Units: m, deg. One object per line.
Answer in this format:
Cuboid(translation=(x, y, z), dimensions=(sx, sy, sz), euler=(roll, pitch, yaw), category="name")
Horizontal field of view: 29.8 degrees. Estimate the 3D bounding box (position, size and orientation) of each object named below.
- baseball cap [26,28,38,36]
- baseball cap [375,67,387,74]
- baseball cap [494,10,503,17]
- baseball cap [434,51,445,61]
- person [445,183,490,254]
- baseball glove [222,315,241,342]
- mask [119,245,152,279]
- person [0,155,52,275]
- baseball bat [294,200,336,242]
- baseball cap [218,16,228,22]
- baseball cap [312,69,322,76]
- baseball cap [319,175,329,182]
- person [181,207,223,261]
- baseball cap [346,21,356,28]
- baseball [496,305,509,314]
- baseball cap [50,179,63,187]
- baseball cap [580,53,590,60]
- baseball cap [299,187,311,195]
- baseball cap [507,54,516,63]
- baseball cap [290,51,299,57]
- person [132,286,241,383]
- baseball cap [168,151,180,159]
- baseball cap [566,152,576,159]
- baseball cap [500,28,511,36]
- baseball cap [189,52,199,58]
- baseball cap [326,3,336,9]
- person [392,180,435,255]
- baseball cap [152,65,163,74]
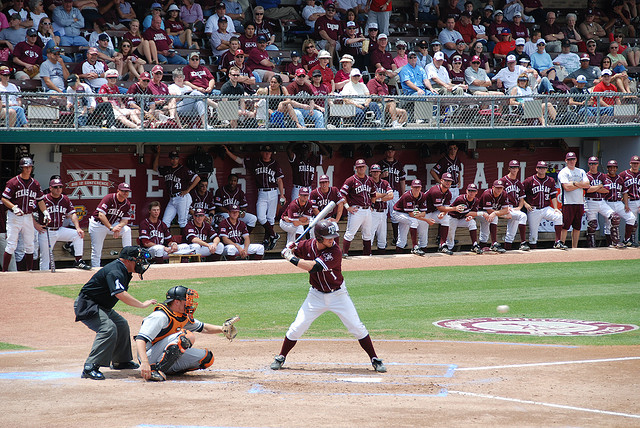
Cuboid(translation=(-7.752, -4.843, 32.072), dimensions=(0.255, 0.194, 0.236), euler=(1, 0, -17), category="baseball cap")
Cuboid(translation=(1.706, -4.076, 34.275), dimensions=(0.400, 0.176, 0.551), euler=(0, -1, -3), category="baseball cap")
Cuboid(translation=(5.659, -6.349, 38.214), dimensions=(0.402, 0.163, 0.490), euler=(0, 14, 1), category="baseball cap")
Cuboid(translation=(3.472, -4.643, 35.322), dimensions=(0.260, 0.272, 0.361), euler=(1, 0, 4), category="baseball cap")
Cuboid(translation=(4.069, 0.130, 33.590), dimensions=(1.142, 1.915, 0.828), euler=(2, 0, 5), category="person")
Cuboid(translation=(-1.899, 2.265, 24.246), dimensions=(0.292, 0.472, 0.416), euler=(15, 20, 33), category="baseball glove")
Cuboid(translation=(-3.814, 0.942, 24.248), dimensions=(0.801, 0.602, 0.562), euler=(6, -1, -4), category="mask")
Cuboid(translation=(-7.576, 0.029, 30.751), dimensions=(1.187, 2.730, 1.500), euler=(2, 0, -12), category="person")
Cuboid(translation=(-0.171, 0.135, 28.613), dimensions=(1.489, 0.194, 0.192), euler=(-40, 0, -1), category="baseball bat")
Cuboid(translation=(-2.831, -5.578, 34.571), dimensions=(0.273, 0.155, 0.234), euler=(1, 0, -7), category="baseball cap")
Cuboid(translation=(-0.110, -3.920, 33.561), dimensions=(0.174, 0.195, 0.218), euler=(0, -12, -9), category="baseball cap")
Cuboid(translation=(0.074, -0.970, 32.752), dimensions=(0.324, 0.180, 0.414), euler=(-1, -4, -2), category="baseball cap")
Cuboid(translation=(-3.177, 0.561, 32.343), dimensions=(1.063, 1.356, 0.661), euler=(1, 0, -5), category="person")
Cuboid(translation=(0.882, -5.610, 35.659), dimensions=(0.157, 0.189, 0.191), euler=(0, -42, -4), category="baseball cap")
Cuboid(translation=(4.160, 2.193, 27.634), dimensions=(0.200, 0.106, 0.202), euler=(0, -2, -38), category="baseball")
Cuboid(translation=(-6.849, -0.798, 30.891), dimensions=(0.233, 0.165, 0.319), euler=(1, 0, -7), category="baseball cap")
Cuboid(translation=(8.300, -4.920, 37.704), dimensions=(0.347, 0.160, 0.481), euler=(2, 11, 11), category="baseball cap")
Cuboid(translation=(-0.447, -0.611, 32.354), dimensions=(0.268, 0.186, 0.295), euler=(1, 0, -4), category="baseball cap")
Cuboid(translation=(5.733, -4.651, 36.107), dimensions=(0.231, 0.248, 0.416), euler=(1, 0, 11), category="baseball cap")
Cuboid(translation=(-0.756, -4.563, 34.421), dimensions=(0.313, 0.122, 0.374), euler=(-2, -4, 0), category="baseball cap")
Cuboid(translation=(-2.851, 2.382, 24.075), dimensions=(1.773, 1.799, 0.705), euler=(1, 0, -11), category="person")
Cuboid(translation=(-4.076, -1.624, 33.207), dimensions=(0.316, 0.189, 0.398), euler=(0, 1, -14), category="baseball cap")
Cuboid(translation=(7.212, -1.670, 34.544), dimensions=(0.230, 0.132, 0.303), euler=(-1, 2, 4), category="baseball cap")
Cuboid(translation=(5.801, -5.674, 37.623), dimensions=(0.315, 0.254, 0.583), euler=(1, 0, 7), category="baseball cap")
Cuboid(translation=(-3.503, -4.347, 32.967), dimensions=(0.333, 0.130, 0.438), euler=(-2, 3, -11), category="baseball cap")
Cuboid(translation=(0.282, -6.150, 35.710), dimensions=(0.405, 0.166, 0.472), euler=(0, -1, 0), category="baseball cap")
Cuboid(translation=(2.581, 0.097, 33.394), dimensions=(1.112, 2.005, 0.914), euler=(2, 0, 10), category="person")
Cuboid(translation=(-4.387, -3.856, 32.033), dimensions=(0.233, 0.220, 0.346), euler=(1, 0, -15), category="baseball cap")
